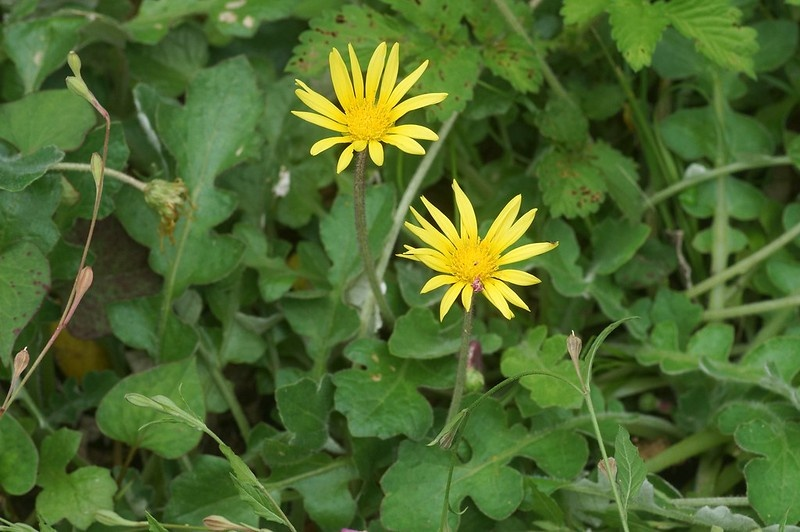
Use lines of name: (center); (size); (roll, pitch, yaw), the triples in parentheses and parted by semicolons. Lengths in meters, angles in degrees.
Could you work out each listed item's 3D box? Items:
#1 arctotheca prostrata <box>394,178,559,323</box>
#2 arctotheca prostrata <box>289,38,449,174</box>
arctotheca prostrata: (0.079, -0.020, 0.811); (0.212, 0.078, 0.221); (12, -4, -30)
arctotheca prostrata: (-0.040, -0.175, 0.778); (0.182, 0.072, 0.181); (-6, 20, 25)
